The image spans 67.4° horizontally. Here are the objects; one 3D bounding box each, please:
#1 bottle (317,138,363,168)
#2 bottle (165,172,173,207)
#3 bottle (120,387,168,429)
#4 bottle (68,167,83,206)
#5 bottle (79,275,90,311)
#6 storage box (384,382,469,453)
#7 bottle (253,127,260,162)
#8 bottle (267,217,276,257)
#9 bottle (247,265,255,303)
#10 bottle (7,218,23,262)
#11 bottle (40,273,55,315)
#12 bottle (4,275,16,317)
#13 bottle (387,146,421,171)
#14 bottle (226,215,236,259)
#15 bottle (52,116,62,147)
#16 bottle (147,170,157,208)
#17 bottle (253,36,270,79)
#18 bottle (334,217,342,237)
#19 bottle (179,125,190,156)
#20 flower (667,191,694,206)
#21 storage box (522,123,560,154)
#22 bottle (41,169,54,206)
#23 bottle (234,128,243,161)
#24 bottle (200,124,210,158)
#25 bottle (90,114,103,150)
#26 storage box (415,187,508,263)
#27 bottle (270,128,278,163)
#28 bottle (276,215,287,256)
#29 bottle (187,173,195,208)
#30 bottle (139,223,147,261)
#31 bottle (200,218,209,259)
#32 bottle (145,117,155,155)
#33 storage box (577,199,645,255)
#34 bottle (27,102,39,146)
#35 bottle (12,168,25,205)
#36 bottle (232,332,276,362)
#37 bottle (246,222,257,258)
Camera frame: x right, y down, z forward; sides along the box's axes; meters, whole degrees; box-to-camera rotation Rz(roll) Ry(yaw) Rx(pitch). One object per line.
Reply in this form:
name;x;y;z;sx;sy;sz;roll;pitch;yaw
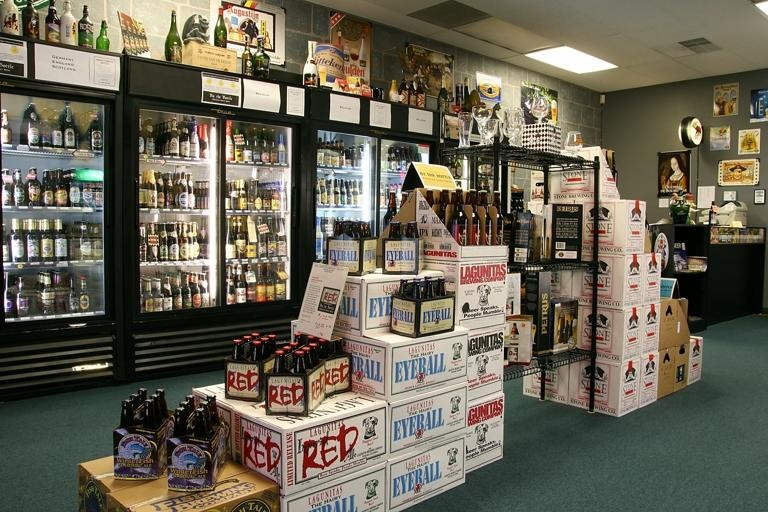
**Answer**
bottle;-0.548;-1.289;7.078;0.699;0.379;0.279;-10;16;-41
bottle;-2.291;-0.713;6.147;0.089;0.344;0.188;-4;13;-22
bottle;-1.497;0.955;3.586;0.289;0.209;0.212;-4;13;-23
bottle;-3.033;-0.678;5.654;0.118;0.335;0.138;-6;14;-29
bottle;-3.008;0.376;5.760;0.090;0.321;0.181;-5;13;-27
storage box;0.300;1.133;4.019;0.551;0.267;0.372;-6;-4;-38
bottle;-1.430;-1.255;6.459;0.071;0.360;0.176;-2;12;-12
bottle;-1.285;-0.216;6.593;0.112;0.400;0.206;-2;12;-12
bottle;-1.492;0.311;6.462;0.106;0.319;0.247;-2;12;-12
bottle;-3.522;-0.161;5.517;0.121;0.383;0.134;-4;13;-21
bottle;-3.268;0.355;5.586;0.127;0.365;0.136;1;12;0
bottle;-3.537;0.374;5.454;0.106;0.368;0.370;-6;14;-31
bottle;0.262;-1.324;7.549;0.496;0.317;0.134;-5;13;-25
bottle;-1.697;-0.202;6.384;0.109;0.435;0.207;-2;12;-15
bottle;-3.167;-1.189;5.574;0.093;0.248;0.128;-5;13;-28
bottle;-2.421;-0.713;6.005;0.093;0.361;0.342;-4;13;-20
bottle;-1.333;-2.159;6.218;0.155;0.453;0.372;-2;13;-12
bottle;-0.334;-0.214;4.261;0.061;0.111;0.250;0;13;-5
bottle;-2.117;-1.223;6.109;0.119;0.304;0.102;-10;16;-43
flower;4.626;-0.906;8.924;0.372;0.286;0.377;3;-2;-3
storage box;1.511;-1.118;5.399;0.371;0.379;0.376;0;4;3
bottle;-3.282;-0.676;5.617;0.096;0.325;0.199;-6;14;-31
bottle;-1.617;-1.239;6.399;0.095;0.317;0.127;1;12;-2
bottle;-1.937;-1.251;6.210;0.099;0.342;0.099;1;12;0
bottle;-2.801;-1.219;5.612;0.212;0.353;0.097;10;15;35
storage box;0.624;-0.235;4.492;0.749;0.560;0.506;-2;5;-43
bottle;-1.250;-1.247;6.526;0.083;0.339;0.167;-2;12;-13
bottle;-1.173;-0.240;6.597;0.119;0.427;0.219;-2;12;-13
bottle;-2.098;-0.717;6.255;0.068;0.351;0.295;-3;13;-18
bottle;-2.501;-0.144;5.977;0.069;0.366;0.234;-3;13;-20
bottle;-1.982;-0.197;6.326;0.114;0.411;0.157;-1;12;-11
bottle;-2.452;-1.266;6.020;0.098;0.366;0.268;-4;13;-22
storage box;2.131;-0.293;5.417;0.539;0.544;0.546;3;4;31
bottle;-3.371;-1.278;5.530;0.121;0.409;0.155;-6;14;-30
bottle;-3.514;-0.670;5.531;0.108;0.325;0.184;-6;14;-32
bottle;-0.873;0.604;3.878;0.209;0.212;0.196;3;7;8
bottle;-1.489;-0.212;6.493;0.104;0.418;0.177;-2;12;-12
